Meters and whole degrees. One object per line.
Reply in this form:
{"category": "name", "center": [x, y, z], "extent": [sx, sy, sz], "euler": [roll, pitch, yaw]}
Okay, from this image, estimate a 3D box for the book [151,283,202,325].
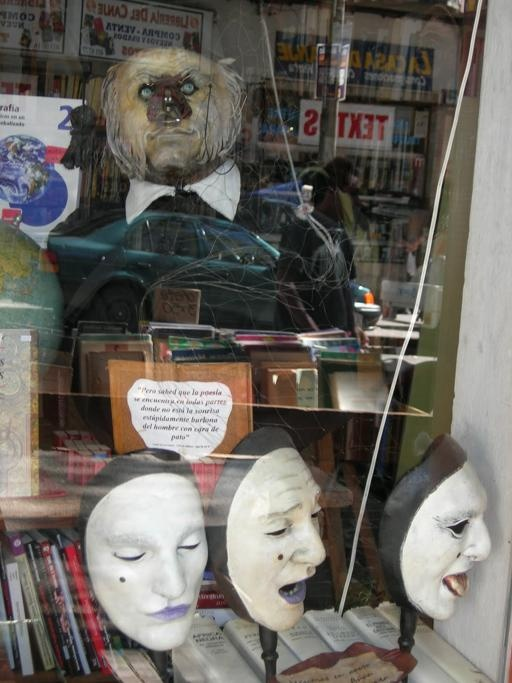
{"category": "book", "center": [-0.156, -0.076, 1.347], "extent": [0.086, 0.066, 0.028], "euler": [3, 5, -17]}
